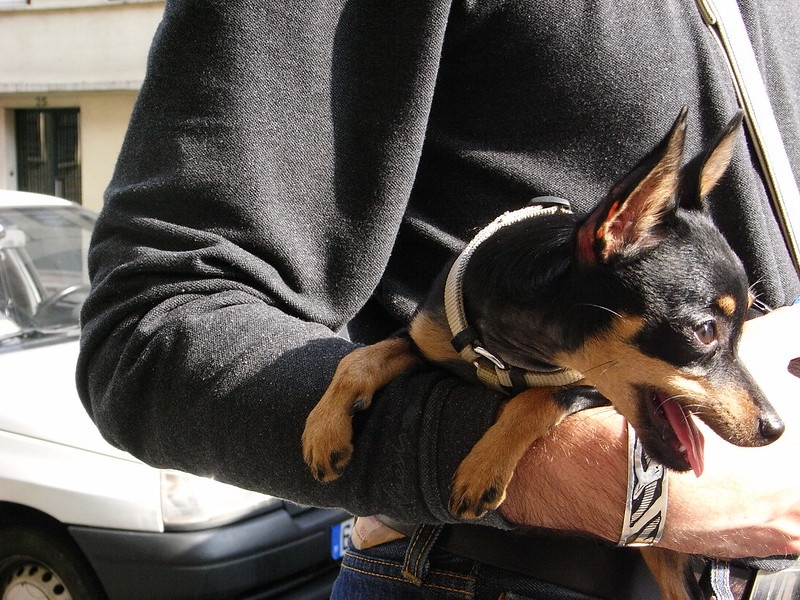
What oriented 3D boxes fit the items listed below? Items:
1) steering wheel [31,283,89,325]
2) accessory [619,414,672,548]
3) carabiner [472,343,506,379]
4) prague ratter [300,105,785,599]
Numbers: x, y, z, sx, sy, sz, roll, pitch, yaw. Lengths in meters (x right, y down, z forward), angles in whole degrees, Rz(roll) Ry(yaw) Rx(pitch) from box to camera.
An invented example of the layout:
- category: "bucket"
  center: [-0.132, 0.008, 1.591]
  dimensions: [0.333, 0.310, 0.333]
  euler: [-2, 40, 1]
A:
- category: "steering wheel"
  center: [-1.676, 0.027, 4.046]
  dimensions: [0.143, 0.075, 0.206]
  euler: [-22, 11, 11]
- category: "accessory"
  center: [0.544, 0.421, 1.843]
  dimensions: [0.100, 0.252, 0.100]
  euler: [5, 15, 16]
- category: "carabiner"
  center: [0.213, 0.154, 1.990]
  dimensions: [0.085, 0.030, 0.062]
  euler: [42, -6, -23]
- category: "prague ratter"
  center: [0.538, -0.021, 2.345]
  dimensions: [1.330, 1.354, 0.628]
  euler: [24, 17, 37]
